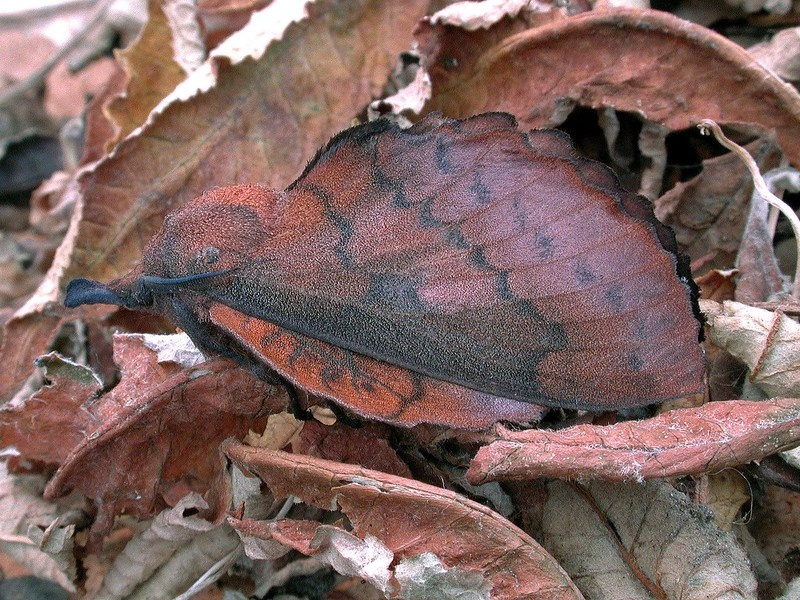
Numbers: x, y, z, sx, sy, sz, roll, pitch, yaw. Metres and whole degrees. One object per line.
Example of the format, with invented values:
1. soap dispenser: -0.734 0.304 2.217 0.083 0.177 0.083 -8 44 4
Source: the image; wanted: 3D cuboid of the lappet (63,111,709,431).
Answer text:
1. lappet: 0.011 -0.024 1.247 0.689 0.236 0.432 1 101 3
